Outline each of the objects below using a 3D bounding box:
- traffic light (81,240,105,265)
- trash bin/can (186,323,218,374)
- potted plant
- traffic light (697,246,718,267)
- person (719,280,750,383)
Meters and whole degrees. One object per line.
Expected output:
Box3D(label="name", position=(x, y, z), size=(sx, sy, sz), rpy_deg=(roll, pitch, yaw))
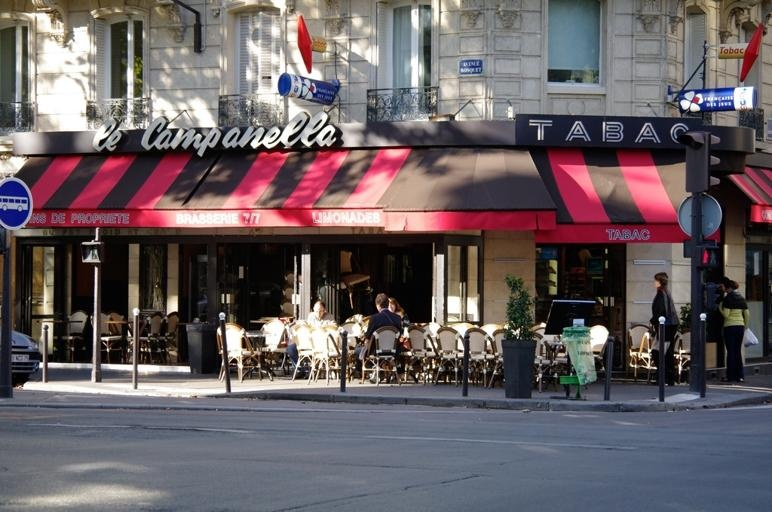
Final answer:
Box3D(label="traffic light", position=(-6.989, -0.099, 35.093), size=(0.503, 0.541, 0.592), rpy_deg=(0, -5, -14))
Box3D(label="trash bin/can", position=(-4.597, 2.337, 37.117), size=(0.774, 1.304, 0.696), rpy_deg=(0, -5, -10))
Box3D(label="potted plant", position=(2.958, 1.951, 32.737), size=(0.732, 2.412, 0.361), rpy_deg=(-1, -5, 3))
Box3D(label="traffic light", position=(7.258, 0.026, 32.908), size=(0.469, 0.445, 0.204), rpy_deg=(2, -6, -34))
Box3D(label="person", position=(8.620, 1.819, 36.467), size=(0.633, 2.575, 0.546), rpy_deg=(-2, -5, 15))
